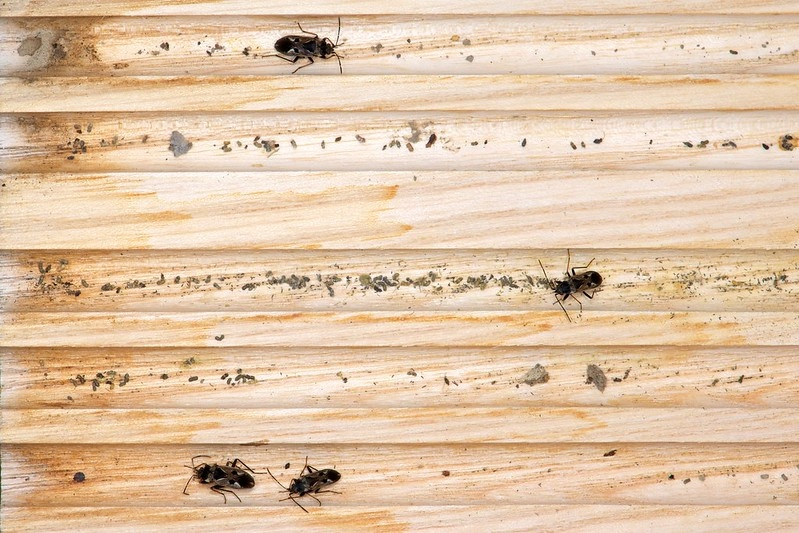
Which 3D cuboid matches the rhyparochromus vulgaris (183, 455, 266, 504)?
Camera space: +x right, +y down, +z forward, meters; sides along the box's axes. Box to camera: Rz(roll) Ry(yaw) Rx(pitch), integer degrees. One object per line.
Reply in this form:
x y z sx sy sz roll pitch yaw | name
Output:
-1.441 1.728 9.165 0.594 0.299 0.285 6 -46 -5 | rhyparochromus vulgaris
